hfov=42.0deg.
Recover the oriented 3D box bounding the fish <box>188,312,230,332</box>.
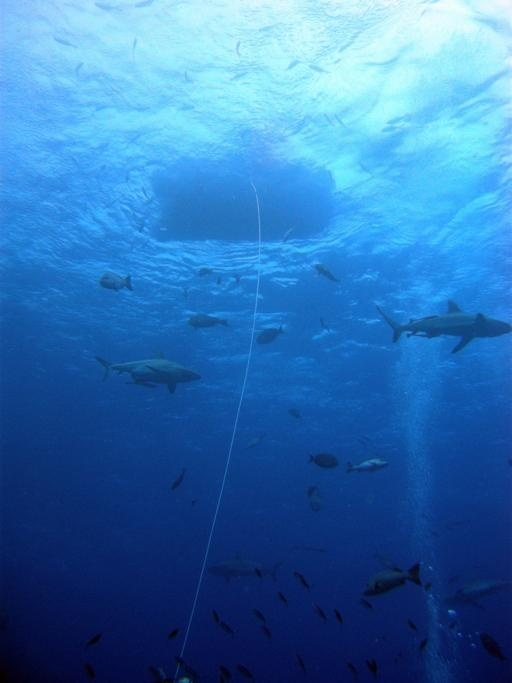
[{"bbox_3d":[-1.164,-0.525,17.044,1.179,0.204,0.545,3,-18,4],"label":"fish"}]

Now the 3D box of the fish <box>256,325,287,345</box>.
[{"bbox_3d":[0.328,-0.128,15.510,0.508,0.418,0.592,1,9,9],"label":"fish"}]

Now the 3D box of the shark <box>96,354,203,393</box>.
[{"bbox_3d":[-1.992,0.614,13.794,1.633,0.863,1.306,-3,-2,4],"label":"shark"}]

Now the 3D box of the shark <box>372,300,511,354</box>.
[{"bbox_3d":[4.016,-0.266,13.649,2.261,1.079,0.766,2,10,17],"label":"shark"}]
